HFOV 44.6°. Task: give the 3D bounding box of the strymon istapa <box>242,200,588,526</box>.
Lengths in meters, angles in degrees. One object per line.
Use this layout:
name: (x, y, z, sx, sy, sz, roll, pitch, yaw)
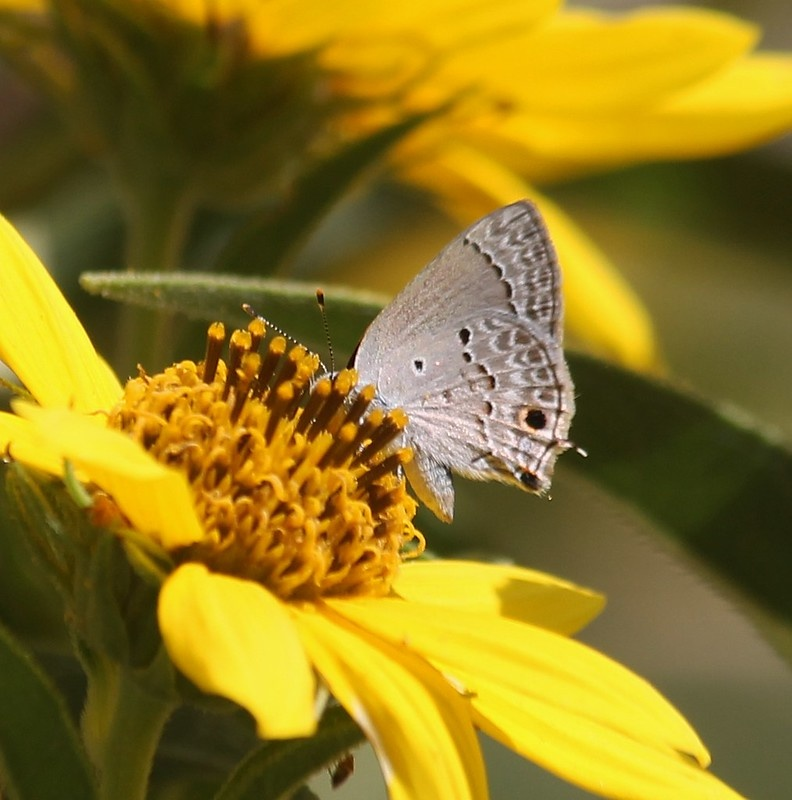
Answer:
strymon istapa: (0.051, -0.029, 0.965, 0.348, 0.267, 0.304, 9, -2, 20)
